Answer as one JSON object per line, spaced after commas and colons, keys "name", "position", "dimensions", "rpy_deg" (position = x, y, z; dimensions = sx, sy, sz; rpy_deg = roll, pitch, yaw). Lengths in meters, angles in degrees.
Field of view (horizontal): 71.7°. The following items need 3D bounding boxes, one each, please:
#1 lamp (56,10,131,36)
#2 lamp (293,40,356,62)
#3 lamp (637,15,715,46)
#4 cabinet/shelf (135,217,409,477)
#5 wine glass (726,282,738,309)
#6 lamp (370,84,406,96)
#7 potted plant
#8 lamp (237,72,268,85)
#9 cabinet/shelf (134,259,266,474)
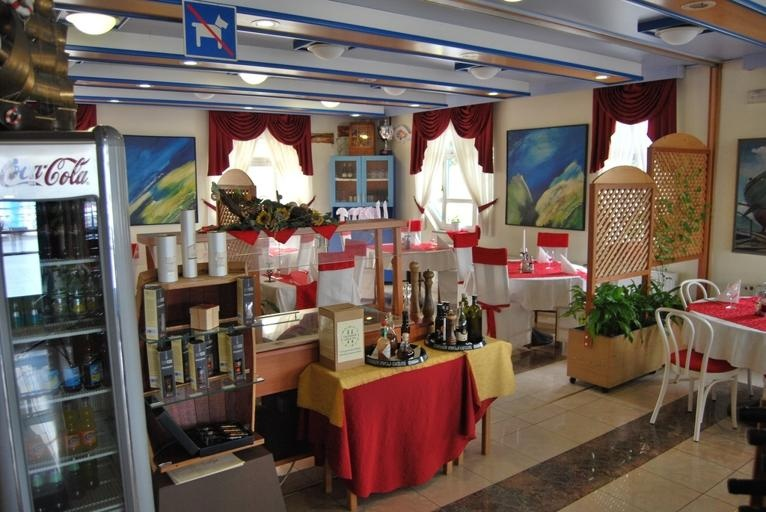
{"name": "lamp", "position": [-2.496, -1.975, 4.554], "dimensions": [0.310, 0.105, 0.501], "rpy_deg": [-6, 4, -43]}
{"name": "lamp", "position": [-0.671, -2.107, 5.586], "dimensions": [0.435, 0.156, 0.409], "rpy_deg": [1, 1, 36]}
{"name": "lamp", "position": [2.794, -2.170, 5.193], "dimensions": [0.377, 0.202, 0.546], "rpy_deg": [4, 2, 44]}
{"name": "cabinet/shelf", "position": [-0.780, 0.694, 3.728], "dimensions": [1.993, 1.682, 0.632], "rpy_deg": [-4, 8, -40]}
{"name": "wine glass", "position": [3.470, 0.411, 5.262], "dimensions": [0.170, 0.238, 0.070], "rpy_deg": [20, -19, -9]}
{"name": "lamp", "position": [0.050, -2.402, 7.880], "dimensions": [0.373, 0.186, 0.454], "rpy_deg": [-10, 18, -43]}
{"name": "potted plant", "position": [2.558, 0.805, 5.783], "dimensions": [1.605, 1.173, 1.010], "rpy_deg": [-6, 9, -41]}
{"name": "lamp", "position": [-1.631, -2.151, 6.587], "dimensions": [0.311, 0.107, 0.307], "rpy_deg": [1, 6, 14]}
{"name": "cabinet/shelf", "position": [-1.489, 0.761, 3.610], "dimensions": [0.393, 1.215, 0.786], "rpy_deg": [-9, 0, -29]}
